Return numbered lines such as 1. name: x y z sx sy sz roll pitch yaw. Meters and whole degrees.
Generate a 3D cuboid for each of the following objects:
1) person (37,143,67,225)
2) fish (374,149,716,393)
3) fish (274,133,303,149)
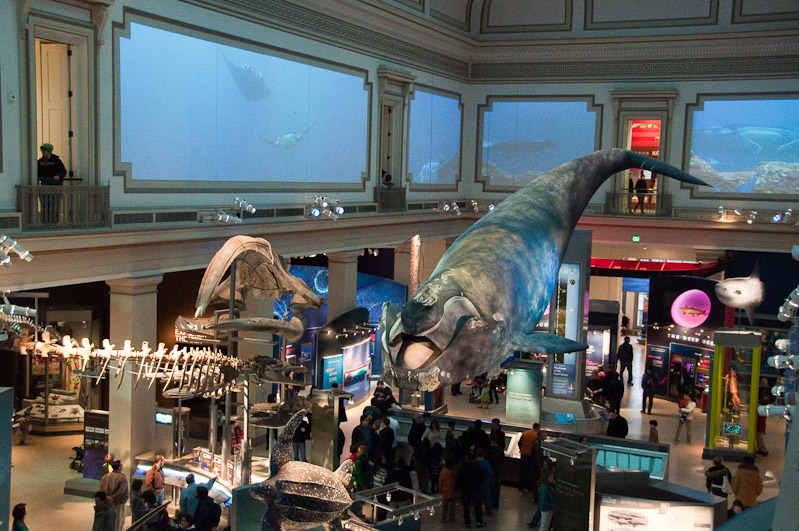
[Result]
1. person: -5.555 -1.242 9.742 0.546 1.329 0.423 0 2 8
2. fish: 1.073 -0.214 5.091 1.627 0.700 3.348 17 43 36
3. fish: -2.465 -2.772 13.822 0.058 0.452 0.826 -2 -5 34
